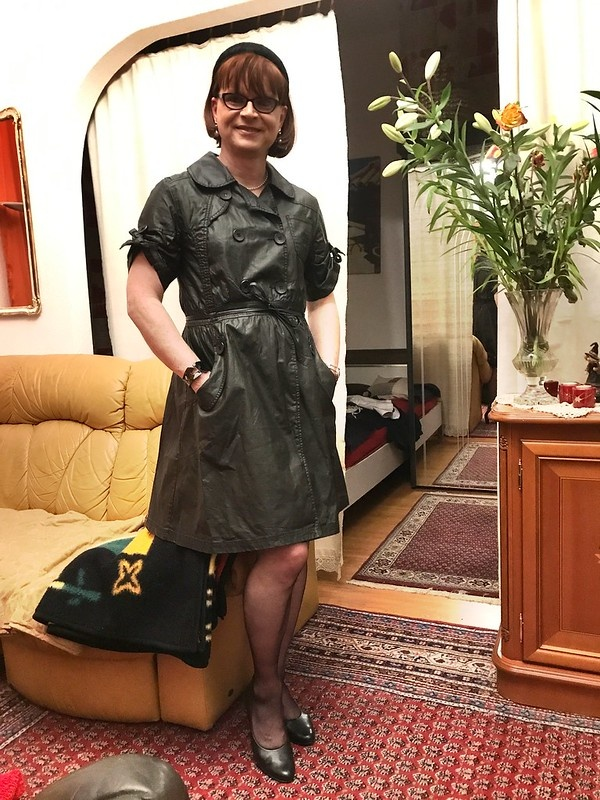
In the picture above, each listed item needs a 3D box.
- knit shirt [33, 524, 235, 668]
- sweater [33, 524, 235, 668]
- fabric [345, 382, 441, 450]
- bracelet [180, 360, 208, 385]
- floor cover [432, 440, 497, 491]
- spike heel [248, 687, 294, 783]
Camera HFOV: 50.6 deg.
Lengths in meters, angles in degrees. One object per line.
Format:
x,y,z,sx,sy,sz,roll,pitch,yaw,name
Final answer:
-0.387,0.452,1.453,0.353,0.126,0.350,4,11,10,knit shirt
-0.387,0.452,1.453,0.353,0.126,0.350,4,11,10,sweater
0.537,0.123,3.618,0.520,0.386,1.286,-2,5,12,fabric
-0.213,-0.055,1.278,0.034,0.025,0.038,-35,-5,26,bracelet
0.973,0.406,3.727,0.319,0.014,0.343,1,49,21,floor cover
-0.066,0.758,1.417,0.098,0.051,0.293,-2,22,-11,spike heel
